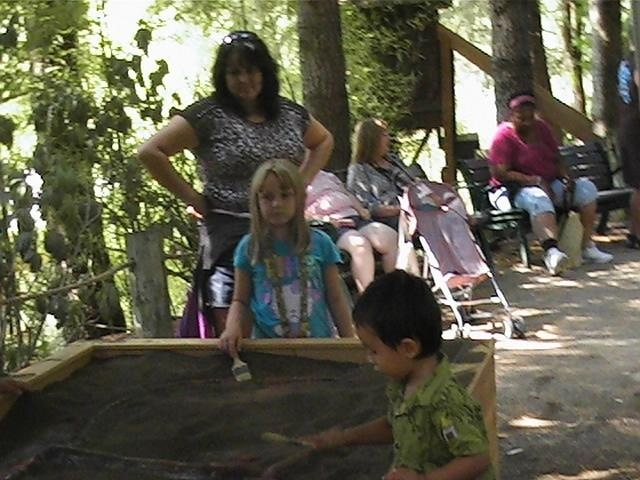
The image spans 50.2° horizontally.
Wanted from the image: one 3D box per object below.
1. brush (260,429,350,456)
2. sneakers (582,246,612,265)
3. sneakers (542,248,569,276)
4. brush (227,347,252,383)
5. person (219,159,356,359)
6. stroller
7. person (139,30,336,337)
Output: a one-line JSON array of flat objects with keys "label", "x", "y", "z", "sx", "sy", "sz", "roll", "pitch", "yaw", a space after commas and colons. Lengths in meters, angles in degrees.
[{"label": "brush", "x": -0.081, "y": 0.895, "z": 3.042, "sx": 0.351, "sy": 0.044, "sz": 0.091, "roll": 8, "pitch": 16, "yaw": 13}, {"label": "sneakers", "x": 2.741, "y": 0.152, "z": 6.794, "sx": 0.262, "sy": 0.112, "sz": 0.148, "roll": 3, "pitch": 12, "yaw": 31}, {"label": "sneakers", "x": 2.216, "y": 0.206, "z": 6.449, "sx": 0.173, "sy": 0.247, "sz": 0.242, "roll": -3, "pitch": 14, "yaw": -4}, {"label": "brush", "x": -0.407, "y": 0.648, "z": 3.483, "sx": 0.091, "sy": 0.099, "sz": 0.176, "roll": -7, "pitch": 15, "yaw": -20}, {"label": "person", "x": -0.176, "y": 0.164, "z": 3.908, "sx": 0.609, "sy": 1.117, "sz": 0.642, "roll": 4, "pitch": 15, "yaw": -31}, {"label": "stroller", "x": 1.005, "y": 0.119, "z": 5.361, "sx": 0.657, "sy": 1.068, "sz": 1.447, "roll": -7, "pitch": 6, "yaw": 1}, {"label": "person", "x": -0.397, "y": -0.065, "z": 4.143, "sx": 1.189, "sy": 2.232, "sz": 0.504, "roll": -12, "pitch": 22, "yaw": -22}]
